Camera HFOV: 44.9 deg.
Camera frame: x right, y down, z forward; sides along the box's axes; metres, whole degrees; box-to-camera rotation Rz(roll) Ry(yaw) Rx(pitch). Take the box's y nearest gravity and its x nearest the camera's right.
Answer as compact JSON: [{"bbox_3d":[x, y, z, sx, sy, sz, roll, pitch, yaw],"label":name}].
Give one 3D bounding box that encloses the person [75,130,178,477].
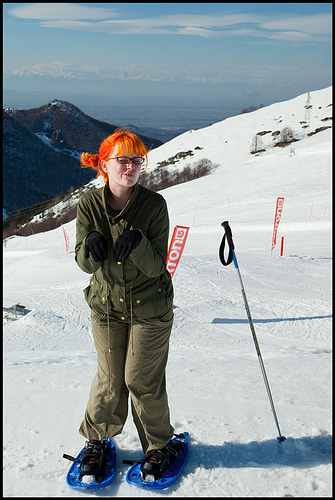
[{"bbox_3d":[-0.314,0.444,3.001,0.772,2.588,0.700,1,5,1],"label":"person"}]
